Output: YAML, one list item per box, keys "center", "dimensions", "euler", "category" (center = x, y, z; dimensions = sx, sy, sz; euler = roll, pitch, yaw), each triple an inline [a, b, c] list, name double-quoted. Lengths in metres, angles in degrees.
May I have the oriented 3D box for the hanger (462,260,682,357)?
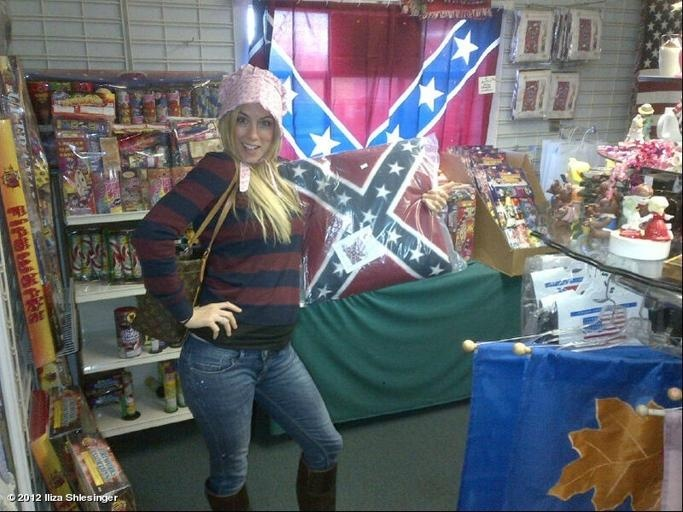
- center: [0.979, 0.218, 2.279]
  dimensions: [0.607, 0.454, 0.208]
  euler: [3, -16, 3]
  category: "hanger"
